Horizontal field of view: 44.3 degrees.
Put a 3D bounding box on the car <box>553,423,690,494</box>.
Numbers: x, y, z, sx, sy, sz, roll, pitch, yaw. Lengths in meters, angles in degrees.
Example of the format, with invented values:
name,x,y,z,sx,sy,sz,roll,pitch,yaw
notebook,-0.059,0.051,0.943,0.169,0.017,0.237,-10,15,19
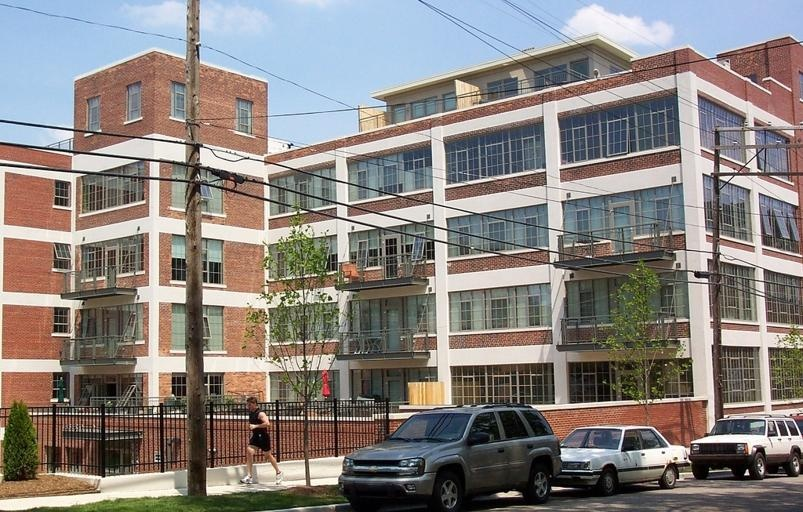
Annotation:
name,x,y,z,sx,sy,sz,roll,pitch,yaw
car,8.694,8.430,40.749,5.734,2.849,1.610,6,-16,-31

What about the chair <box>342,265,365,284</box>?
name,x,y,z,sx,sy,sz,roll,pitch,yaw
chair,-3.297,1.119,65.314,1.371,1.766,1.292,3,-9,-27

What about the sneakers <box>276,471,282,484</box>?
name,x,y,z,sx,sy,sz,roll,pitch,yaw
sneakers,-5.136,9.362,41.443,0.298,0.645,0.222,10,-15,-29
